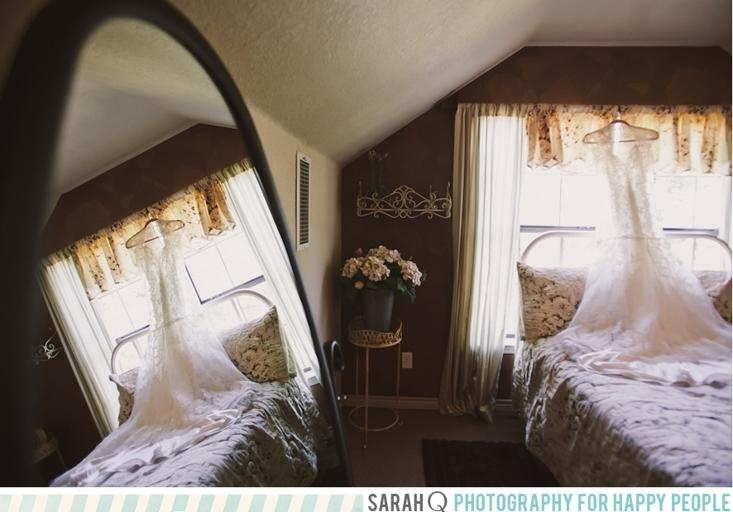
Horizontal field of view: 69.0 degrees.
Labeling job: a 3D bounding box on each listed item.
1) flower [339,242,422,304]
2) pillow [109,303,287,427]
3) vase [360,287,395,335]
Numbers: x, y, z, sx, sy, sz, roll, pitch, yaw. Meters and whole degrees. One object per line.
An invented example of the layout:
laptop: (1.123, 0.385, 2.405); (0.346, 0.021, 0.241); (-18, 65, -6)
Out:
flower: (0.107, 0.088, 3.016); (0.346, 0.200, 0.344); (4, 2, -32)
pillow: (-0.188, 0.155, 0.790); (0.135, 0.121, 0.039); (-24, 20, -39)
vase: (0.064, 0.297, 3.000); (0.214, 0.262, 0.232); (0, 1, -8)
